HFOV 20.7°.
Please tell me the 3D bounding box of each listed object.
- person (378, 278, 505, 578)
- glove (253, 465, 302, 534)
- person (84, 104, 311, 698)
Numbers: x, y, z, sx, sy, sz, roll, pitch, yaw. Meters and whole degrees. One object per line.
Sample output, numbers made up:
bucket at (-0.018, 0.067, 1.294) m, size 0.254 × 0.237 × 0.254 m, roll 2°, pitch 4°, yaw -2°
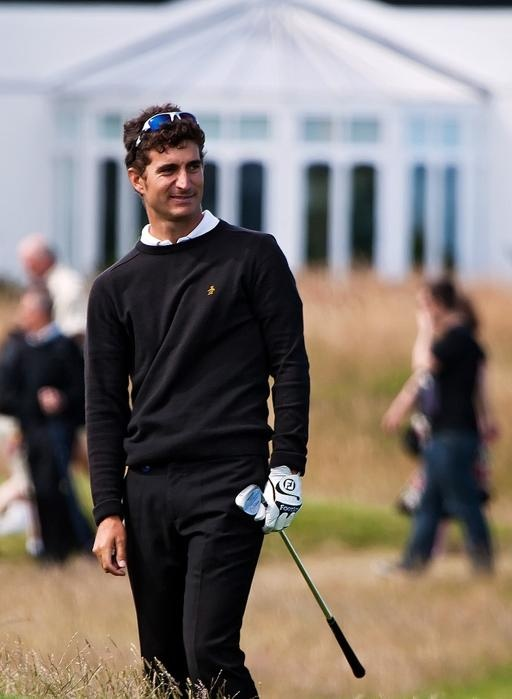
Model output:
person at (0.844, 0.344, 6.129) m, size 0.503 × 1.241 × 0.446 m, roll 9°, pitch 6°, yaw 21°
glove at (0.057, 0.455, 4.477) m, size 0.156 × 0.199 × 0.081 m, roll 16°, pitch 5°, yaw -38°
person at (-0.224, 0.164, 4.594) m, size 0.855 × 1.908 × 0.362 m, roll 10°, pitch 7°, yaw 32°
